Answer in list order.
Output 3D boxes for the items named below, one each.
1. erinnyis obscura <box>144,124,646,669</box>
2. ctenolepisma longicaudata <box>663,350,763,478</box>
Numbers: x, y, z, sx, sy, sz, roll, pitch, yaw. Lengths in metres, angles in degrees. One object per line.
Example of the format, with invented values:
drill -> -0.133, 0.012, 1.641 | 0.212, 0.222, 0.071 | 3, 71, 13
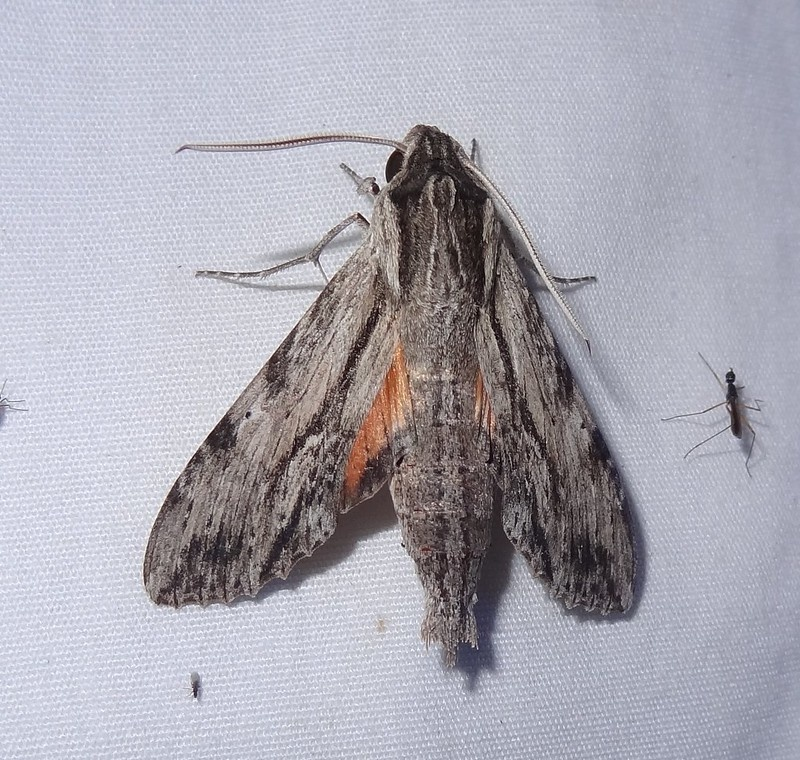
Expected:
erinnyis obscura -> -0.013, 0.017, 2.466 | 0.869, 0.844, 0.561 | -4, -33, 11
ctenolepisma longicaudata -> 0.663, 0.071, 2.687 | 0.178, 0.257, 0.062 | 4, -2, -19
